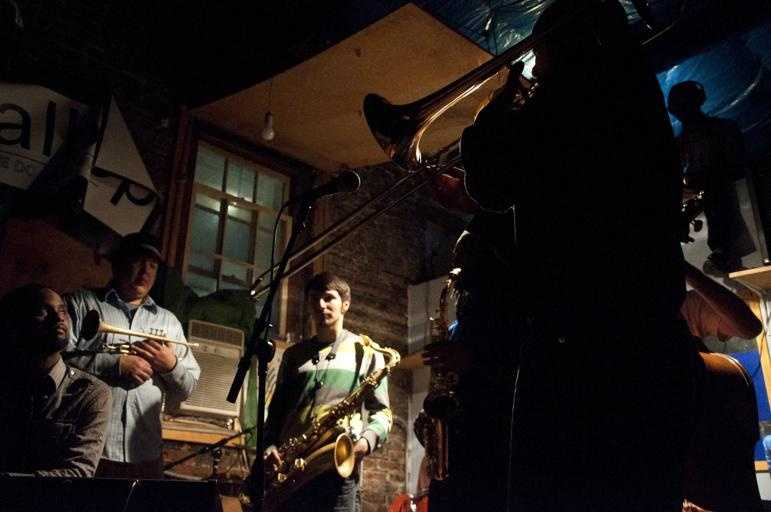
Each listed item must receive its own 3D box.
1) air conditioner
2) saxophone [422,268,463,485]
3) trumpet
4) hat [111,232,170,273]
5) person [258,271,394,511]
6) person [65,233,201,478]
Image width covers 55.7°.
[{"bbox_3d":[-1.324,0.888,5.515,0.434,0.778,0.431,17,-50,-19],"label":"air conditioner"},{"bbox_3d":[0.300,0.650,3.854,0.172,1.064,0.258,0,-3,8],"label":"saxophone"},{"bbox_3d":[-1.685,0.625,5.176,0.777,0.220,0.313,17,-61,-34],"label":"trumpet"},{"bbox_3d":[-1.872,-0.028,5.564,0.312,0.262,0.343,12,-5,-40],"label":"hat"},{"bbox_3d":[-0.344,0.972,5.172,0.903,1.407,0.597,6,-7,-1],"label":"person"},{"bbox_3d":[-1.794,0.697,5.252,0.799,1.616,0.564,7,-7,-16],"label":"person"}]
